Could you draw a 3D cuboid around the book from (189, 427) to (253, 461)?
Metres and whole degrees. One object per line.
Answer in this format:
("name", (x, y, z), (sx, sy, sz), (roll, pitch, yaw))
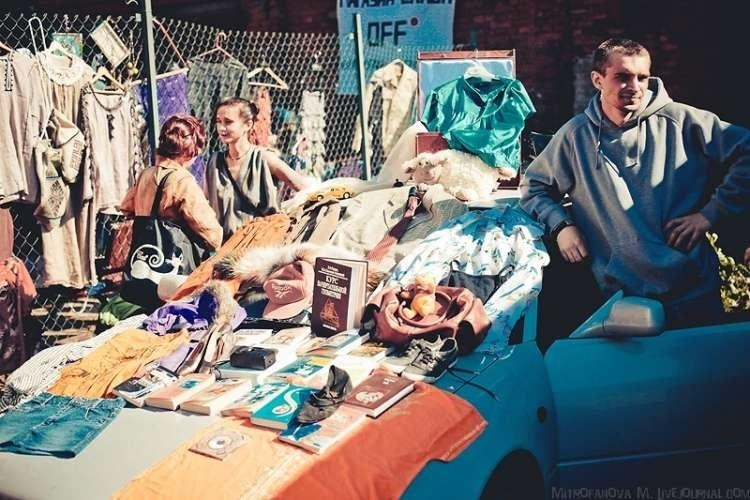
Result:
("book", (-0.908, 1.127, 3.522), (0.269, 0.049, 0.248), (6, 19, 29))

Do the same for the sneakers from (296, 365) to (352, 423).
("sneakers", (-0.297, 0.898, 3.727), (0.163, 0.170, 0.424), (13, 30, 28))

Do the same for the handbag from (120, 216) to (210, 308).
("handbag", (-1.971, 0.048, 5.620), (0.872, 0.901, 0.516), (8, 25, 12))

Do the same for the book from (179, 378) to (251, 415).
("book", (-1.004, 0.939, 3.889), (0.236, 0.056, 0.245), (-8, 12, 31))

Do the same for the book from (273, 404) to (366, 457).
("book", (-0.275, 1.049, 3.516), (0.259, 0.032, 0.297), (10, 20, 38))

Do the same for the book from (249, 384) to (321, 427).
("book", (-0.599, 0.972, 3.709), (0.205, 0.050, 0.296), (7, 18, 24))

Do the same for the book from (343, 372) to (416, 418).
("book", (0.003, 0.852, 3.773), (0.395, 0.428, 0.070), (-23, 34, 4))

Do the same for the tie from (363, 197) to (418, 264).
("tie", (0.168, -0.150, 5.333), (0.226, 0.131, 0.907), (12, 50, 25))

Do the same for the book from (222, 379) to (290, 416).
("book", (-0.753, 0.941, 3.835), (0.190, 0.037, 0.267), (-3, 13, 27))

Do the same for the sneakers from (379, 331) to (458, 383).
("sneakers", (0.320, 0.729, 4.039), (0.396, 0.131, 0.283), (-6, 22, -43))

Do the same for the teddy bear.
("teddy bear", (0.741, -0.774, 5.675), (0.702, 0.253, 0.536), (21, 19, 14))

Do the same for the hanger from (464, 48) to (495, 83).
("hanger", (1.157, -2.065, 6.651), (0.308, 0.318, 1.149), (0, 17, 11))
